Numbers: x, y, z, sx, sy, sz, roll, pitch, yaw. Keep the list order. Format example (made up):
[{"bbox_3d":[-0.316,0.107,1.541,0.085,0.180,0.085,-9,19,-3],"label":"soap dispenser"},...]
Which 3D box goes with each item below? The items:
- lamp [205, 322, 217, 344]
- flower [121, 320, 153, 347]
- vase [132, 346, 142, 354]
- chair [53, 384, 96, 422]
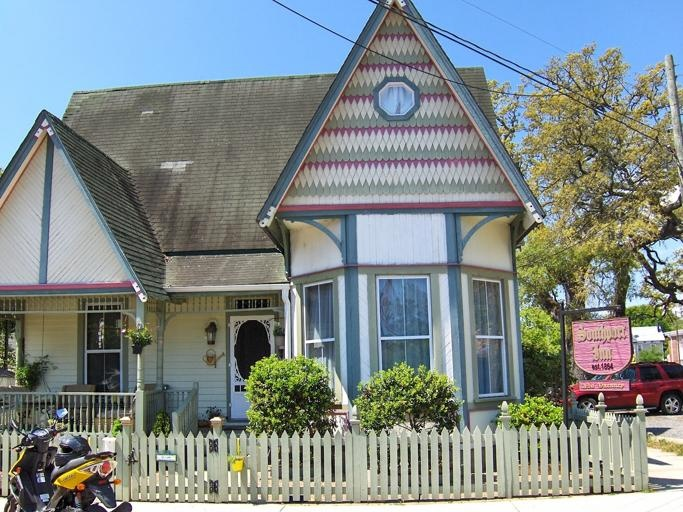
[{"bbox_3d":[-3.666,2.169,25.233,0.322,0.679,0.272,-1,-12,-10],"label":"lamp"},{"bbox_3d":[-5.302,2.025,23.046,0.811,0.722,0.963,8,-9,-2],"label":"flower"},{"bbox_3d":[-5.194,2.398,22.790,0.187,0.168,0.179,2,-15,-17],"label":"vase"},{"bbox_3d":[-7.035,4.071,24.497,0.643,1.124,0.719,-4,-8,28],"label":"chair"}]
